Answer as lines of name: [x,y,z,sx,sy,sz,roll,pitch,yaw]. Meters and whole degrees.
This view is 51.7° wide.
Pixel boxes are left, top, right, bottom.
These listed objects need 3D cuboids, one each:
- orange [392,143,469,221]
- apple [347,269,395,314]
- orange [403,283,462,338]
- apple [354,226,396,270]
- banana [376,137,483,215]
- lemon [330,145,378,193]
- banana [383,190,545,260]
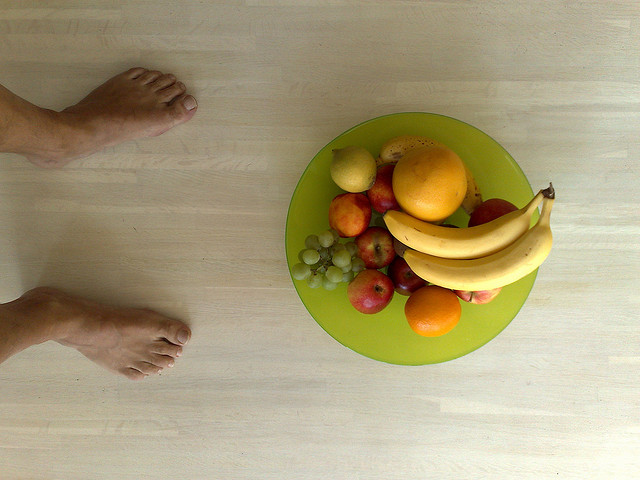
orange: [0.298,-0.154,1.858,0.290,0.176,0.237,-1,-7,-9]
apple: [0.146,0.155,1.878,0.132,0.146,0.073,8,23,-8]
orange: [0.335,0.191,1.873,0.183,0.071,0.159,-20,22,-8]
apple: [0.155,0.026,1.863,0.173,0.105,0.133,0,5,0]
banana: [0.316,-0.210,1.881,0.211,0.087,0.296,-29,71,-15]
lemon: [0.085,-0.195,1.841,0.155,0.134,0.094,15,21,14]
banana: [0.393,-0.036,1.806,0.558,0.170,0.097,-3,15,-25]
